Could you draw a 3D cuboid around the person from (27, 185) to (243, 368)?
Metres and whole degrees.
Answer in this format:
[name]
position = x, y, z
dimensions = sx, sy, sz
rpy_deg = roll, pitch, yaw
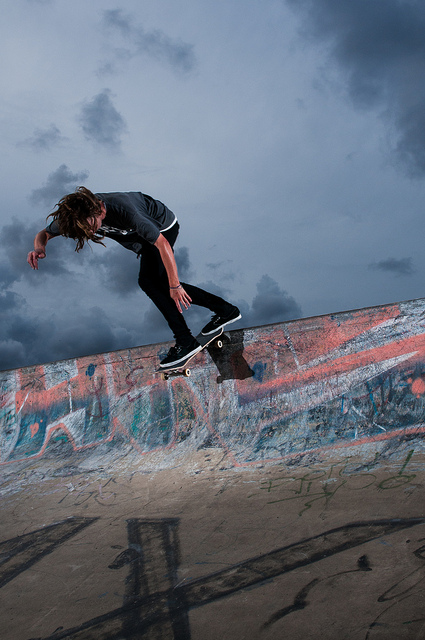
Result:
[person]
position = -0.777, -0.373, 4.549
dimensions = 1.587, 1.745, 1.004
rpy_deg = -13, 22, 17

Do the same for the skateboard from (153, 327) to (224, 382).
[skateboard]
position = -0.229, 0.355, 4.857
dimensions = 0.303, 0.180, 1.092
rpy_deg = -10, 17, 40

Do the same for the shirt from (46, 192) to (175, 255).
[shirt]
position = -0.759, -0.841, 4.283
dimensions = 1.100, 0.429, 1.464
rpy_deg = 12, 18, 31
